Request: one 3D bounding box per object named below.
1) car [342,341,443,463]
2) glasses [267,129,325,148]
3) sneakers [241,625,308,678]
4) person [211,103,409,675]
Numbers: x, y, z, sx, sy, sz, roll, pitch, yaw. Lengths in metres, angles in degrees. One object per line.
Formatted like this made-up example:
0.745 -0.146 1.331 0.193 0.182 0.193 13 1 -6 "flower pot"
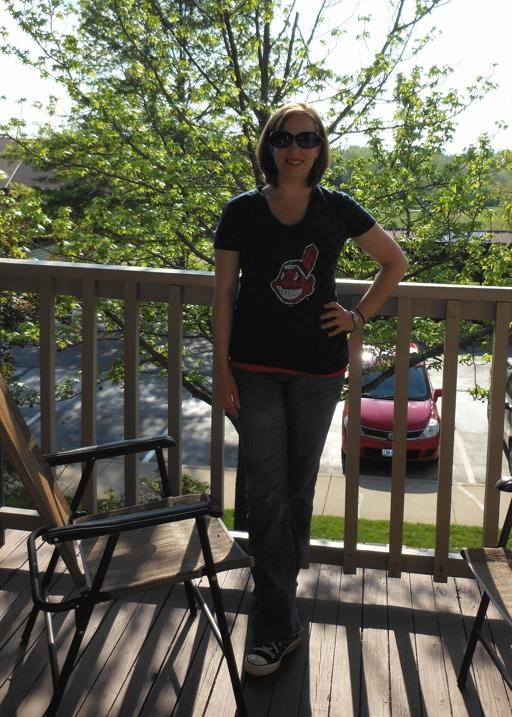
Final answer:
2.032 0.851 8.121 1.427 1.351 2.679 0 3 11 "car"
0.094 -0.540 1.352 0.126 0.049 0.045 1 8 4 "glasses"
0.033 0.797 1.491 0.059 0.063 0.170 4 -1 32 "sneakers"
0.136 0.085 1.505 0.499 1.481 0.263 -3 9 -23 "person"
